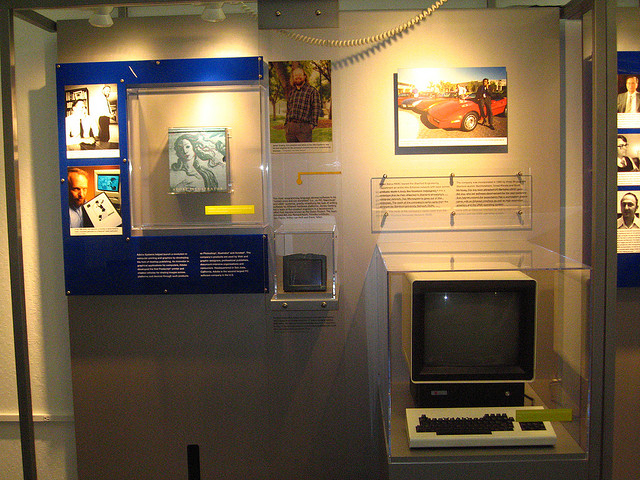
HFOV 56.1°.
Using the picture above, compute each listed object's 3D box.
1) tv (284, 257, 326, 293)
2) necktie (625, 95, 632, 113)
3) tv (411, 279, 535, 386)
[{"bbox_3d":[-0.092,0.164,3.350,0.238,0.219,0.135,0,17,-5],"label":"tv"},{"bbox_3d":[1.688,-0.740,3.293,0.038,0.084,0.007,-3,6,-9],"label":"necktie"},{"bbox_3d":[0.773,0.438,3.205,0.625,0.563,0.464,-1,5,4],"label":"tv"}]
